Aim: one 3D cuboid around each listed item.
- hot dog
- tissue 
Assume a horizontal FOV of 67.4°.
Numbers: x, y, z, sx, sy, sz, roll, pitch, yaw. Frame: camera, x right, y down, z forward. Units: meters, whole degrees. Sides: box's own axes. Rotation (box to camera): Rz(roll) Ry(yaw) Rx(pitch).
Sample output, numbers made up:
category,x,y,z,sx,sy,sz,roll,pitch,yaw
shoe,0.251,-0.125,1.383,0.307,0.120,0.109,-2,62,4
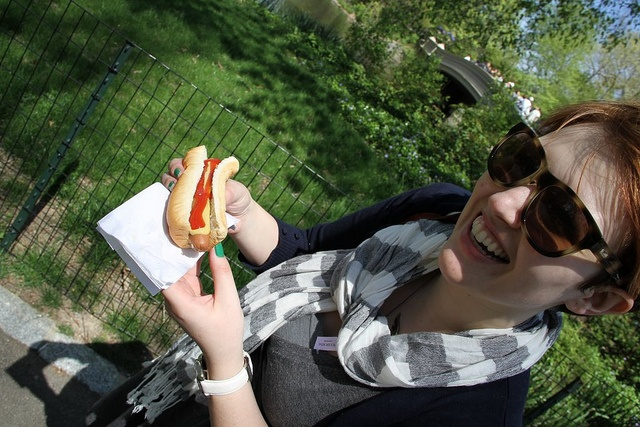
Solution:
category,x,y,z,sx,sy,sz,roll,pitch,yaw
hot dog,-0.726,-0.096,3.109,0.398,0.219,0.728,12,51,-18
tissue ,-1.043,0.197,2.958,0.648,0.674,0.203,46,-13,-2
